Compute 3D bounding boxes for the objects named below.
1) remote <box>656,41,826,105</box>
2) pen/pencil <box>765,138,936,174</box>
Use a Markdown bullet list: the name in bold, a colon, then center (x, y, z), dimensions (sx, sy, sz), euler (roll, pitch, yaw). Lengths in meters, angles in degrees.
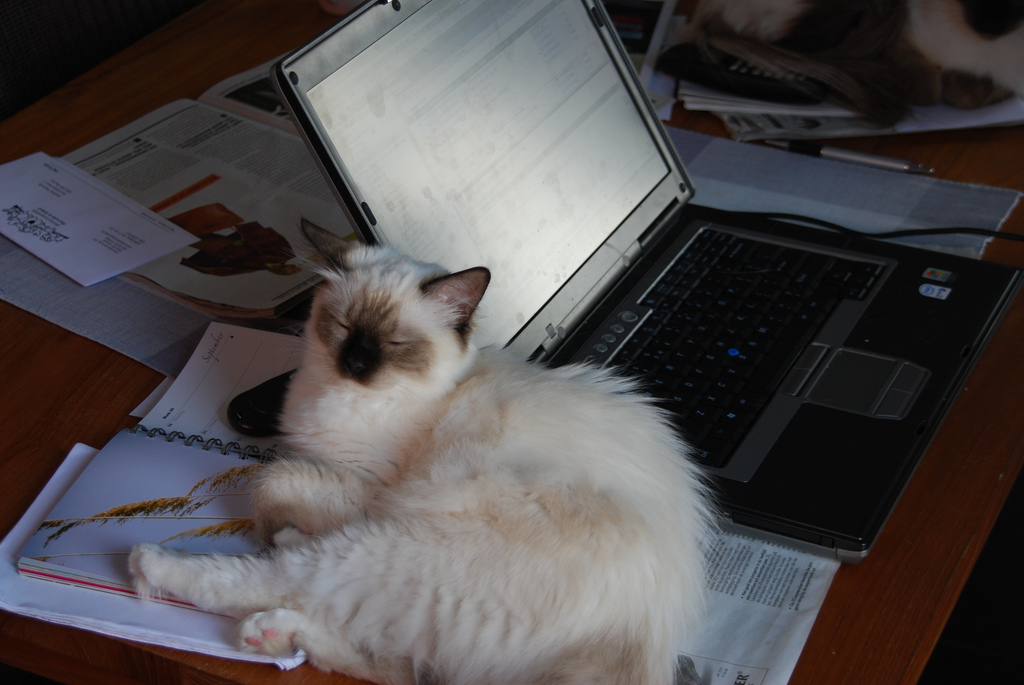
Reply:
- **remote**: center (0.415, -0.488, 1.502), dimensions (0.267, 0.036, 0.121), euler (19, 32, 14)
- **pen/pencil**: center (0.586, -0.314, 1.396), dimensions (0.267, 0.020, 0.021), euler (13, 11, 27)
